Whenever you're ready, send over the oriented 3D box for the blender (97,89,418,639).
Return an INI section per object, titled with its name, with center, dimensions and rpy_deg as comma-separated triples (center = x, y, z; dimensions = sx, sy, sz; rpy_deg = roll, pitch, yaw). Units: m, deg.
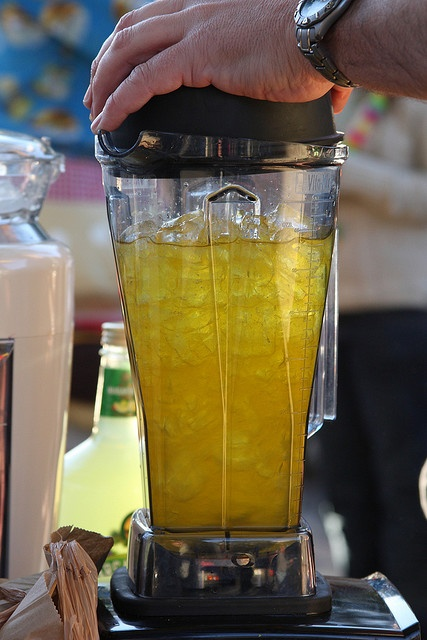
[blender]
center = 0.002, 0.023, 0.425
dimensions = 0.175, 0.262, 0.093
rpy_deg = 6, -3, -11
